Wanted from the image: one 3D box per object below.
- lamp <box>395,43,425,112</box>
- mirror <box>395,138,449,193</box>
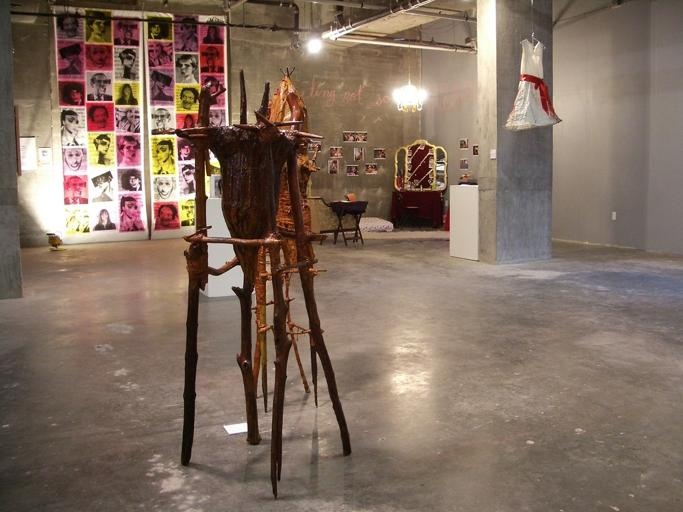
[{"bbox_3d":[2.174,-5.483,15.843,1.111,2.043,1.599,-1,7,-3],"label":"lamp"},{"bbox_3d":[2.584,-2.845,16.338,1.603,1.526,0.085,6,10,33],"label":"mirror"}]
